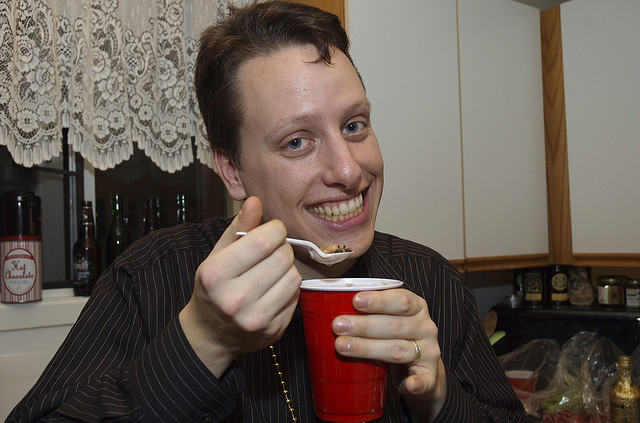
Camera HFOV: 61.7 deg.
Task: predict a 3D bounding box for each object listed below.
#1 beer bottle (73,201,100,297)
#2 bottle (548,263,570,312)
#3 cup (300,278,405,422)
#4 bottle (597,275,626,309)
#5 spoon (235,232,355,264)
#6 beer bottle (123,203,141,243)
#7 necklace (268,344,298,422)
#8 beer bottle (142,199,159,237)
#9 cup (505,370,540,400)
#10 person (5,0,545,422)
[{"bbox_3d":[-1.023,0.163,2.346,0.111,0.412,0.075,-2,-1,-22],"label":"beer bottle"},{"bbox_3d":[1.382,0.420,3.096,0.115,0.264,0.088,-3,-1,16],"label":"bottle"},{"bbox_3d":[0.056,0.374,1.592,0.320,0.408,0.343,0,-3,0],"label":"cup"},{"bbox_3d":[1.591,0.439,2.936,0.143,0.180,0.150,1,-5,0],"label":"bottle"},{"bbox_3d":[-0.022,0.113,1.450,0.214,0.046,0.128,18,-9,-13],"label":"spoon"},{"bbox_3d":[-0.887,0.046,2.528,0.068,0.178,0.072,-2,-1,0],"label":"beer bottle"},{"bbox_3d":[-0.119,0.549,1.686,0.021,0.302,0.018,-16,-3,18],"label":"necklace"},{"bbox_3d":[-0.786,0.022,2.481,0.075,0.158,0.062,-2,-1,2],"label":"beer bottle"},{"bbox_3d":[1.059,0.880,2.795,0.137,0.116,0.141,-3,-2,0],"label":"cup"},{"bbox_3d":[-0.129,0.003,1.725,1.525,0.963,0.757,-2,-1,-21],"label":"person"}]
